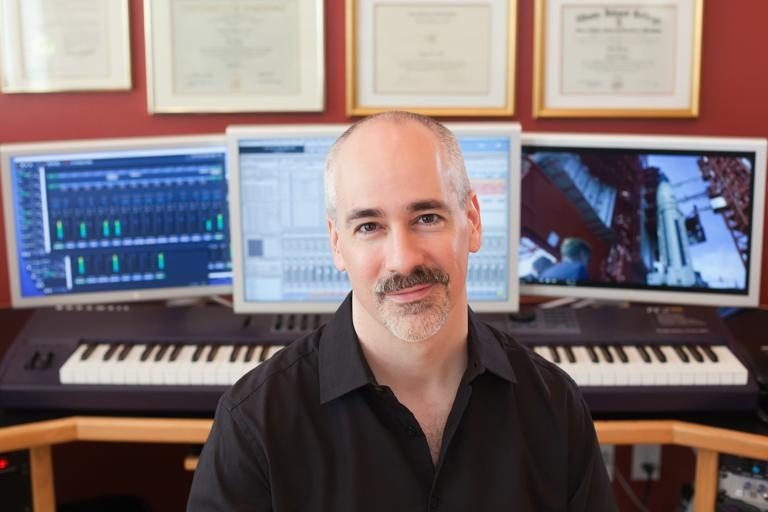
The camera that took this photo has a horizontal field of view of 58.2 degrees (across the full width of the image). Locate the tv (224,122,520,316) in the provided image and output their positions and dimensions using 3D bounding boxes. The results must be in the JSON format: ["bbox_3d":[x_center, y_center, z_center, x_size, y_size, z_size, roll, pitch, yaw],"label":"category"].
[{"bbox_3d":[-0.058,-0.143,2.282,0.793,0.525,0.037,-1,5,1],"label":"tv"}]
